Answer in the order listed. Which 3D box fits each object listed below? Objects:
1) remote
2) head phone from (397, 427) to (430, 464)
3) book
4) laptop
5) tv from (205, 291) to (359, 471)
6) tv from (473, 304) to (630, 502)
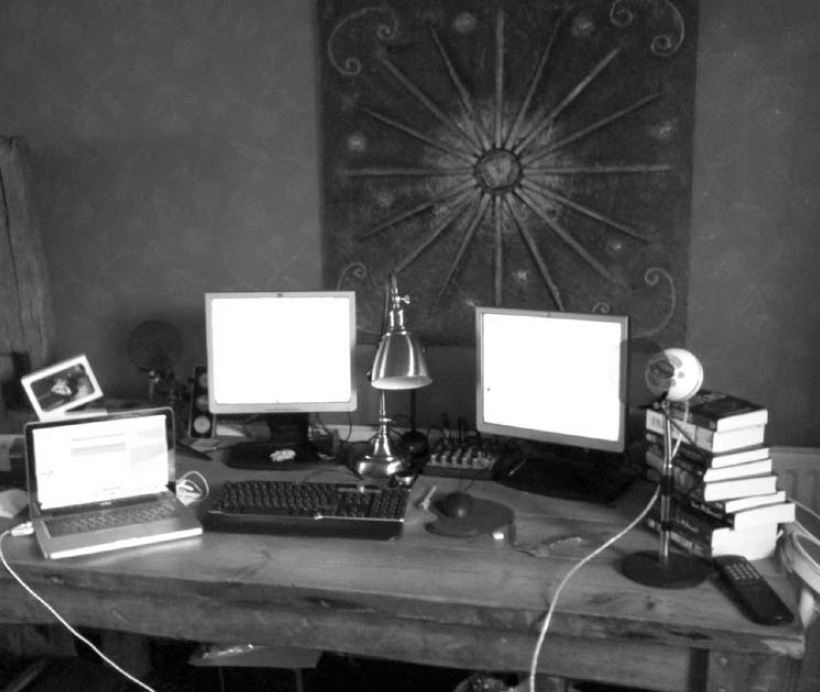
[{"bbox_3d":[0.787,0.557,1.868,0.105,0.110,0.221,-2,-4,0],"label":"remote"},{"bbox_3d":[0.023,0.331,2.675,0.076,0.081,0.081,2,-1,-6],"label":"head phone"},{"bbox_3d":[0.758,0.293,2.242,0.338,0.509,0.513,-5,9,-11],"label":"book"},{"bbox_3d":[-0.814,0.369,2.204,0.482,0.367,0.362,-4,10,-29],"label":"laptop"},{"bbox_3d":[-0.311,0.068,2.865,0.631,0.770,0.495,0,4,0],"label":"tv"},{"bbox_3d":[0.447,0.156,2.674,0.627,0.703,0.485,2,3,31],"label":"tv"}]
